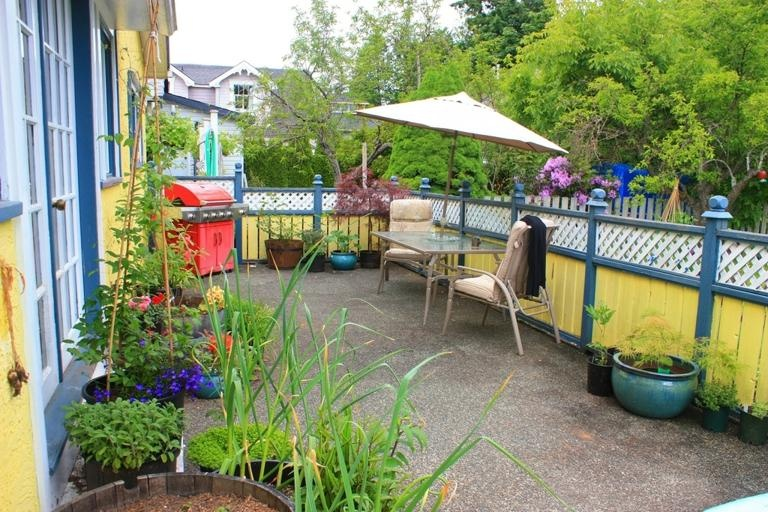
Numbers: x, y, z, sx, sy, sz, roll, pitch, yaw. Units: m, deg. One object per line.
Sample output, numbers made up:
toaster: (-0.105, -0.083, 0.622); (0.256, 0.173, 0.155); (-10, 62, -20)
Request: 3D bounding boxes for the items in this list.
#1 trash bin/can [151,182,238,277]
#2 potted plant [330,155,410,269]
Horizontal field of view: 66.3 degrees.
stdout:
trash bin/can: (-2.167, -0.321, 6.687); (0.753, 1.274, 1.286); (2, 5, 17)
potted plant: (-0.404, -0.704, 10.447); (1.745, 2.356, 1.539); (0, 1, -12)
